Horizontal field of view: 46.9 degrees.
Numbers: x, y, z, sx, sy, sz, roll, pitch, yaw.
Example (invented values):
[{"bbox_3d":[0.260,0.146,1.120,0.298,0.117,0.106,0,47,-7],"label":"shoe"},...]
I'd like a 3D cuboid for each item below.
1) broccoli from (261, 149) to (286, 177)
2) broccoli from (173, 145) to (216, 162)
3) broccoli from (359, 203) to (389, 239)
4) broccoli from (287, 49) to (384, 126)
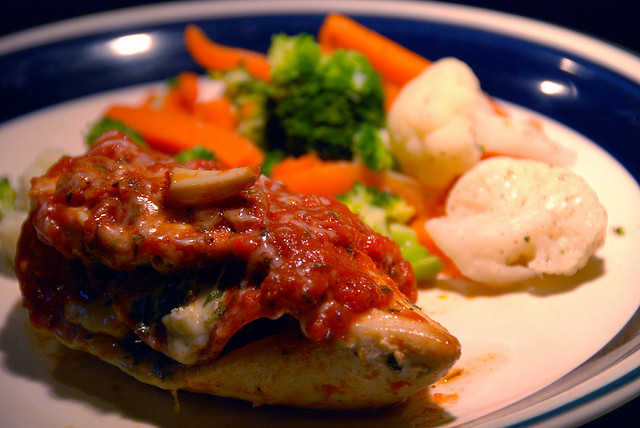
[{"bbox_3d":[-0.408,-0.448,6.298,0.215,0.070,0.215,-25,43,4],"label":"broccoli"},{"bbox_3d":[-1.049,-0.508,6.220,0.249,0.233,0.077,-13,107,-4],"label":"broccoli"},{"bbox_3d":[0.420,0.057,5.805,0.246,0.065,0.229,43,45,14],"label":"broccoli"},{"bbox_3d":[0.212,-1.108,6.165,0.856,0.210,0.513,19,66,6],"label":"broccoli"}]
